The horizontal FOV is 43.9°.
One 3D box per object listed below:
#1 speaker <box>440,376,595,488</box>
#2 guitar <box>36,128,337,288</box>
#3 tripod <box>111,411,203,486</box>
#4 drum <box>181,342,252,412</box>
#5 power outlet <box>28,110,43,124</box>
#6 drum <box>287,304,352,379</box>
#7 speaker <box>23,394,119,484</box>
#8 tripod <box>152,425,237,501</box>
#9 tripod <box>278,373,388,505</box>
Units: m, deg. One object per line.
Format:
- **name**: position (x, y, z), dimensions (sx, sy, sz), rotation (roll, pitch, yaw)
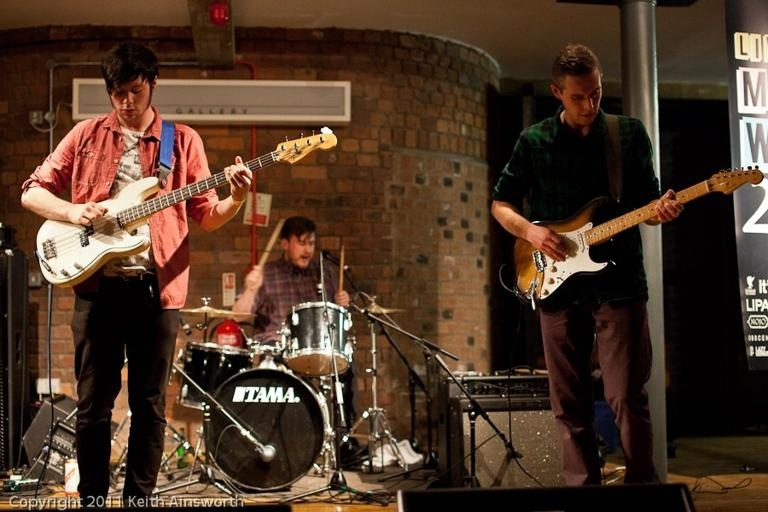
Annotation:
- **speaker**: position (0.900, 1.514, 7.283), dimensions (1.170, 1.327, 0.680), rotation (-2, -8, -6)
- **guitar**: position (-1.518, -0.334, 7.123), dimensions (1.299, 0.404, 0.193), rotation (-29, 0, -12)
- **tripod**: position (-1.720, 1.475, 7.174), dimensions (0.516, 0.782, 0.582), rotation (1, -23, 3)
- **drum**: position (-1.326, 0.905, 7.545), dimensions (0.482, 0.494, 0.502), rotation (12, -5, -11)
- **power outlet**: position (-3.187, -1.263, 8.729), dimensions (0.114, 0.125, 0.114), rotation (2, -8, -33)
- **drum**: position (-0.529, 0.656, 7.271), dimensions (0.496, 0.410, 0.509), rotation (-25, -36, 35)
- **speaker**: position (-2.317, 1.370, 7.024), dimensions (0.421, 0.794, 0.439), rotation (21, -40, -9)
- **tripod**: position (-1.441, 1.671, 7.583), dimensions (0.527, 0.438, 0.574), rotation (-9, -33, 18)
- **tripod**: position (-0.309, 1.405, 7.440), dimensions (0.819, 1.093, 0.834), rotation (1, 7, 6)
